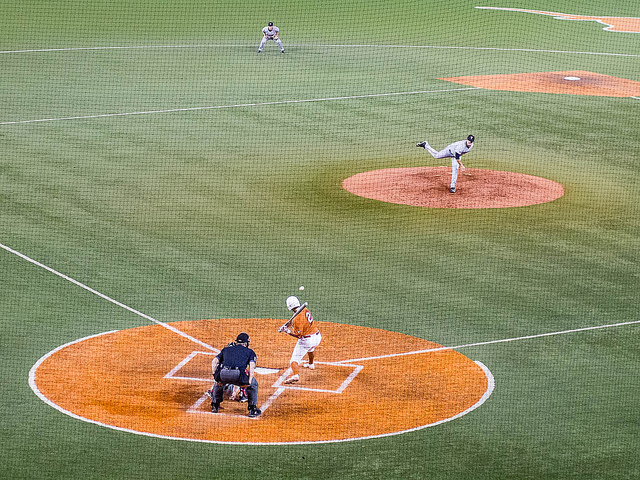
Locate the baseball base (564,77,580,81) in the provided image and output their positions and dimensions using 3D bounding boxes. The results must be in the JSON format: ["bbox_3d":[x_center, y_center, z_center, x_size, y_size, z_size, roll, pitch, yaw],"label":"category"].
[{"bbox_3d":[11.449,-7.315,43.917,0.724,0.015,0.456,1,24,-4],"label":"baseball base"}]

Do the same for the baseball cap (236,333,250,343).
[{"bbox_3d":[-1.764,2.174,21.432,0.251,0.158,0.320,1,26,-5],"label":"baseball cap"}]

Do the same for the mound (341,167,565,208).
[{"bbox_3d":[4.562,-1.771,33.586,7.048,0.447,4.174,7,24,7],"label":"mound"}]

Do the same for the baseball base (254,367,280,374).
[{"bbox_3d":[-1.292,3.100,22.844,0.556,0.041,0.275,5,24,3],"label":"baseball base"}]
